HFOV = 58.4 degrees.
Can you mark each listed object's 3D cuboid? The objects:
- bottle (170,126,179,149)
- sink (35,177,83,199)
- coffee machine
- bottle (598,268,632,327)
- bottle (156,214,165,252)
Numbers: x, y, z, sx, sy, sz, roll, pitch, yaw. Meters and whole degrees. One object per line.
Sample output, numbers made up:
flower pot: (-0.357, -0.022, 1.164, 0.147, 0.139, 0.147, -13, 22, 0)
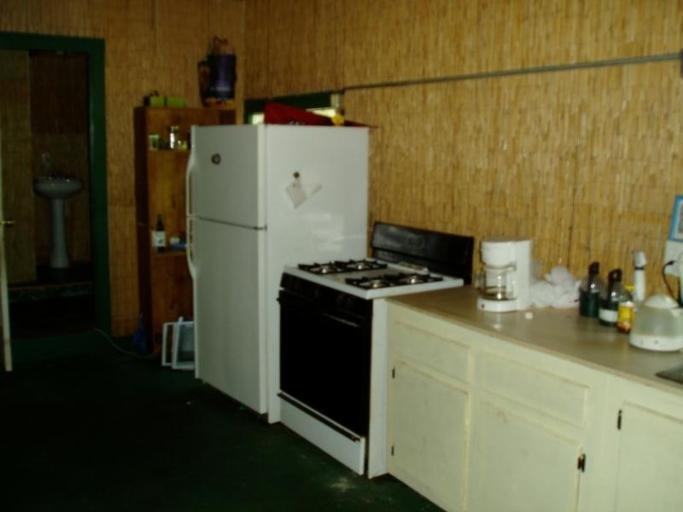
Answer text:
bottle: (-1.395, -0.988, 5.096, 0.086, 0.192, 0.030, -4, 12, -26)
sink: (-3.130, -0.747, 6.762, 0.477, 0.233, 0.287, -4, 12, -25)
coffee machine: (0.860, 0.085, 3.211, 0.296, 0.363, 0.250, -4, 8, -16)
bottle: (1.278, 0.187, 2.871, 0.147, 0.270, 0.144, 0, 9, 0)
bottle: (-1.525, -0.193, 5.139, 0.067, 0.293, 0.105, -2, 11, -13)
